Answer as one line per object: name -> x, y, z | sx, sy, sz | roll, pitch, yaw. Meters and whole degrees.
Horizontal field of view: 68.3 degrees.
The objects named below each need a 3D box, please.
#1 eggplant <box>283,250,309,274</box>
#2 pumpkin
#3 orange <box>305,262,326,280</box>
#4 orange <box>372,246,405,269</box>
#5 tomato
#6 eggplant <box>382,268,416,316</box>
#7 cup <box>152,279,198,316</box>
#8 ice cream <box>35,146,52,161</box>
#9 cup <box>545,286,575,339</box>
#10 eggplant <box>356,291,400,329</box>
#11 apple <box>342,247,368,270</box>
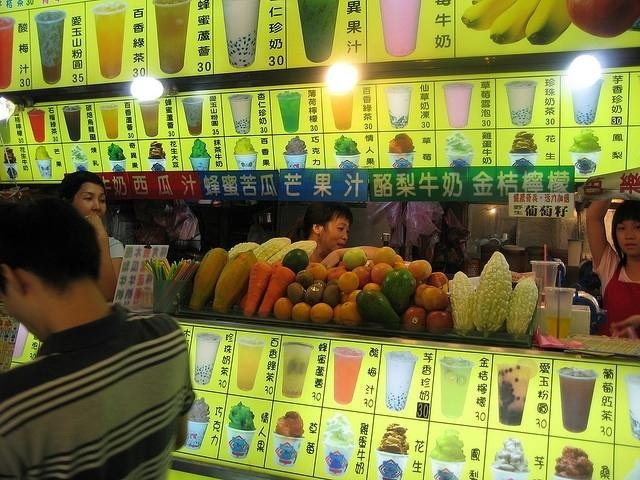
eggplant -> -0.115, 0.104, 2.423 | 0.109, 0.112, 0.160 | 13, -67, 36
pumpkin -> -0.492, 0.181, 2.366 | 0.243, 0.204, 0.354 | 8, -80, 38
orange -> -0.020, 0.151, 2.344 | 0.074, 0.077, 0.087 | -2, -87, 10
orange -> 0.338, 0.084, 2.360 | 0.106, 0.124, 0.108 | 0, -2, -7
tomato -> 0.489, 0.233, 2.168 | 0.164, 0.209, 0.323 | 5, -83, 19
eggplant -> 0.350, 0.228, 2.102 | 0.167, 0.167, 0.236 | -3, -92, 11
cup -> -0.748, 0.282, 2.482 | 0.160, 0.180, 0.188 | 9, -88, 2
ice cream -> -2.019, -0.642, 3.525 | 0.098, 0.092, 0.067 | -15, -77, 5
cup -> 1.066, 0.324, 2.161 | 0.104, 0.134, 0.233 | 2, -83, 15
eggplant -> 0.261, 0.302, 2.105 | 0.188, 0.102, 0.150 | 5, -42, 11
apple -> 0.184, 0.093, 2.409 | 0.096, 0.097, 0.111 | -2, -89, -8
